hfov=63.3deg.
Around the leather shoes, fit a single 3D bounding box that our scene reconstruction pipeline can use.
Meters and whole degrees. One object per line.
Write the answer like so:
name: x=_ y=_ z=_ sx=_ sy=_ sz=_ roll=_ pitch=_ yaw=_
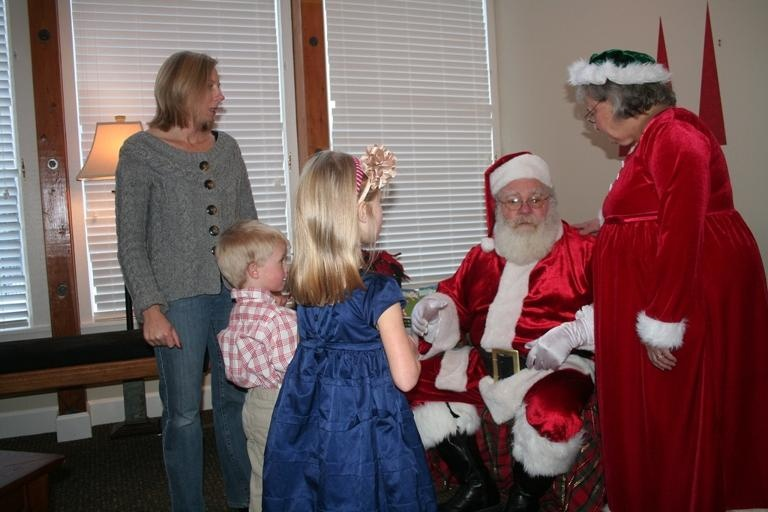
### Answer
leather shoes: x=0.685 y=0.514 z=3.089 sx=0.312 sy=0.137 sz=0.227 roll=0 pitch=4 yaw=-20
